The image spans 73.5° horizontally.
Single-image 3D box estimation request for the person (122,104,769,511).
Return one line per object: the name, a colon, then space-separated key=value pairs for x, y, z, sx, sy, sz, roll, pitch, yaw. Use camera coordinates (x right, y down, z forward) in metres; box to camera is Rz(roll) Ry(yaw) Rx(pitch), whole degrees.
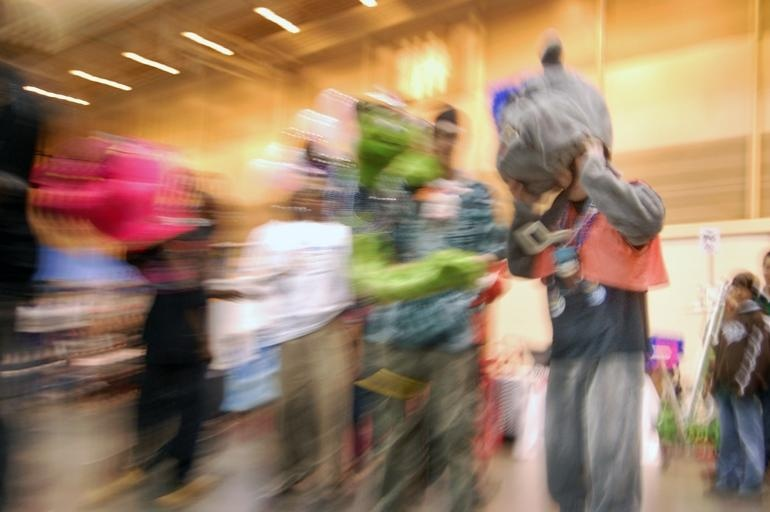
person: x=0.193 y=0.233 z=1.920 sx=1.811 sy=1.358 sz=0.418 roll=-4 pitch=-3 yaw=26
